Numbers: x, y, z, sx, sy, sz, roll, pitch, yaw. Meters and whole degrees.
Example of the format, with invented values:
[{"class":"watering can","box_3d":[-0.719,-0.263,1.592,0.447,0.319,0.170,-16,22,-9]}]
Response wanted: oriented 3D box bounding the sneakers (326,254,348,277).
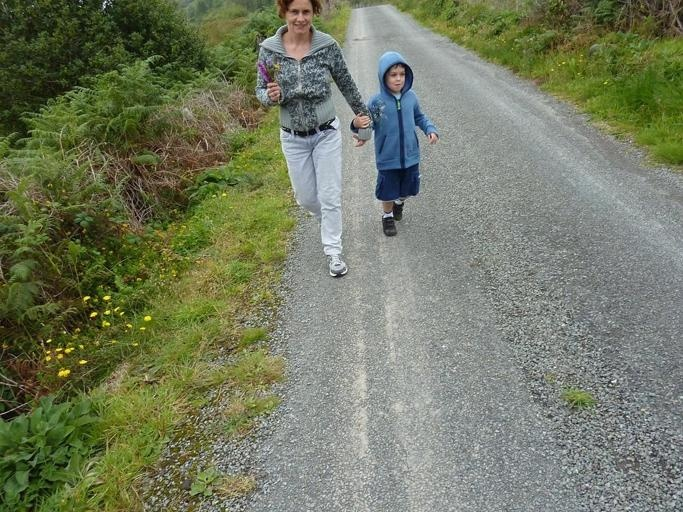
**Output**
[{"class":"sneakers","box_3d":[-0.048,0.102,5.617,0.129,0.144,0.302,-10,15,-7]}]
